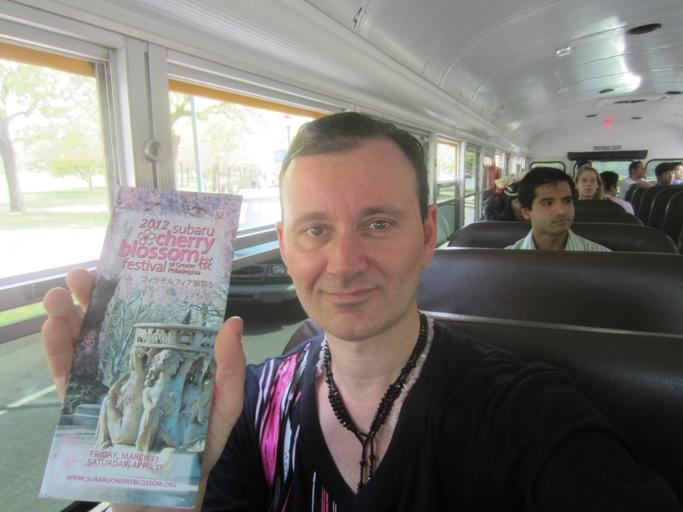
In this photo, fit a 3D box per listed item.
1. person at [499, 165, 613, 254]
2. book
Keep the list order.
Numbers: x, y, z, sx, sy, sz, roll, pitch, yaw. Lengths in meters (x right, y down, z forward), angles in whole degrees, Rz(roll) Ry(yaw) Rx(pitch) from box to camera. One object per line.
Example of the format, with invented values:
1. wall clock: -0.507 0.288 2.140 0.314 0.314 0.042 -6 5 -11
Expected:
1. person: 1.443 -0.294 3.258 0.752 0.702 0.420 -7 5 3
2. book: -0.524 0.223 1.250 0.453 0.806 0.337 0 9 10
